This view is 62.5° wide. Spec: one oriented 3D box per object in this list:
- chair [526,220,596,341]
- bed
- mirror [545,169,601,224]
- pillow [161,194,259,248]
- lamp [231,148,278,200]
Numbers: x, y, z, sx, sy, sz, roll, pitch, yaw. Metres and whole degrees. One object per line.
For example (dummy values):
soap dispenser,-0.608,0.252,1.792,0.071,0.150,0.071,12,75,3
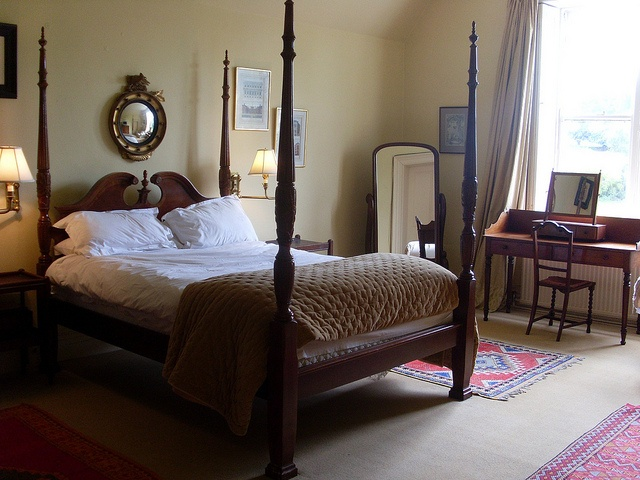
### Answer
chair,2.443,0.360,5.325,0.624,1.105,0.987,6,11,28
bed,-0.507,-0.020,4.711,2.720,3.302,3.386,-7,9,-44
mirror,2.655,-0.458,5.542,0.478,0.586,0.048,8,-24,24
pillow,-1.024,-0.096,4.929,0.573,0.254,0.878,34,25,31
lamp,-0.640,-0.664,5.389,0.517,0.520,0.324,0,8,11
